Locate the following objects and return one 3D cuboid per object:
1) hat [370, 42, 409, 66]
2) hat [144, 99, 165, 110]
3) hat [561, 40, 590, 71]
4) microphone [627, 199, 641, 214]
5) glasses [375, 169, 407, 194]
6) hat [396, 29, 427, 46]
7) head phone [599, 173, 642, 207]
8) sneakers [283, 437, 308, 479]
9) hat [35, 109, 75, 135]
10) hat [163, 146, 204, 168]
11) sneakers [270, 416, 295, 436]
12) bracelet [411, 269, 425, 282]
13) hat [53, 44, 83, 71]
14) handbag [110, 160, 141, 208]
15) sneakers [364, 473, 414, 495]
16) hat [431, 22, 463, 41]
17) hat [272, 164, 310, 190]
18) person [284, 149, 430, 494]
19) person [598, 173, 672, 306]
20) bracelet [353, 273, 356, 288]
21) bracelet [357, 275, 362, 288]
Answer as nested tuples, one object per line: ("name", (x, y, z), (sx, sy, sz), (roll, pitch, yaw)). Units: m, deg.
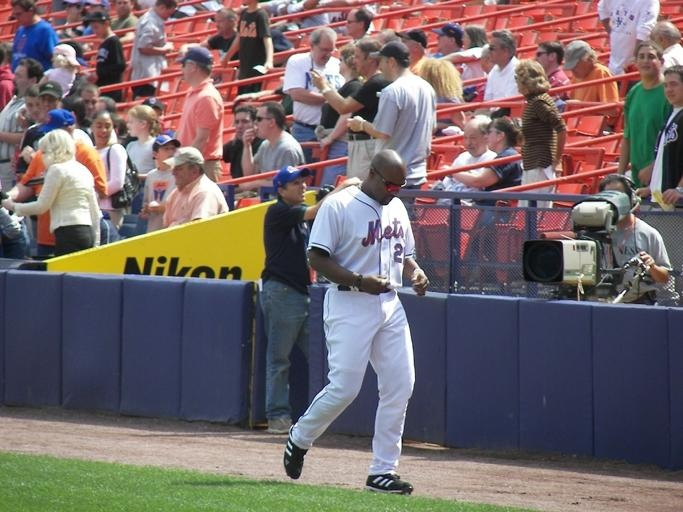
("hat", (0.487, -1.951, 16.148), (0.292, 0.154, 0.189), (14, 22, 9))
("hat", (-2.201, -1.831, 19.891), (0.191, 0.158, 0.289), (10, -4, -6))
("hat", (2.587, -2.271, 18.724), (0.352, 0.217, 0.240), (-36, 34, 11))
("microphone", (2.615, -0.431, 14.799), (0.109, 0.133, 0.139), (-1, -11, -9))
("glasses", (0.417, -0.596, 14.154), (0.197, 0.193, 0.059), (-2, -44, -49))
("hat", (0.758, -2.306, 17.892), (0.270, 0.106, 0.168), (15, 9, -6))
("head phone", (2.498, -0.594, 14.846), (0.306, 0.319, 0.266), (14, -6, -37))
("sneakers", (-0.354, 1.730, 14.269), (0.141, 0.393, 0.178), (-2, 11, -43))
("hat", (-2.940, -1.382, 17.370), (0.366, 0.174, 0.223), (-6, 7, 2))
("hat", (-1.542, -0.985, 16.734), (0.336, 0.146, 0.207), (1, -1, -17))
("sneakers", (-0.566, 1.603, 15.755), (0.249, 0.100, 0.132), (-7, -7, 30))
("bracelet", (0.670, 0.174, 14.385), (0.087, 0.101, 0.112), (4, -17, -29))
("hat", (-3.362, -2.422, 20.507), (0.286, 0.178, 0.356), (13, -22, -28))
("handbag", (-2.325, -0.783, 18.059), (0.242, 0.506, 0.520), (3, -5, 13))
("sneakers", (0.393, 1.927, 14.068), (0.435, 0.177, 0.151), (0, -5, 8))
("hat", (1.289, -2.700, 20.338), (0.338, 0.131, 0.204), (9, 24, -2))
("hat", (-0.454, -0.738, 15.575), (0.288, 0.143, 0.184), (-31, -1, 20))
("person", (0.135, 0.535, 14.146), (0.978, 2.776, 0.913), (1, 14, -1))
("person", (2.616, -0.104, 14.768), (0.668, 1.170, 0.601), (1, 14, 0))
("bracelet", (0.126, 0.214, 14.031), (0.036, 0.119, 0.042), (1, 14, 0))
("bracelet", (0.160, 0.221, 14.015), (0.058, 0.083, 0.083), (7, -25, 0))
